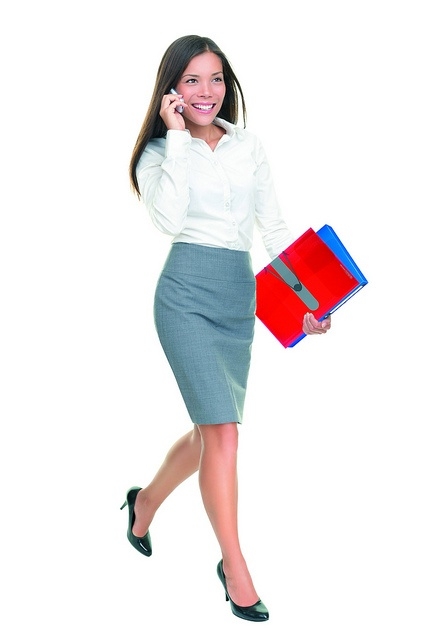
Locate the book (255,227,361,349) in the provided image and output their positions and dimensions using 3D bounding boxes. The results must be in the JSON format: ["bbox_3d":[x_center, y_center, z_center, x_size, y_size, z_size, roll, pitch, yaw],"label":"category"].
[{"bbox_3d":[0.294,-0.113,2.440,0.126,0.486,0.335,-20,-72,52],"label":"book"}]

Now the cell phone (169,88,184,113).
[{"bbox_3d":[-0.123,-0.765,2.194,0.058,0.030,0.077,4,-67,41],"label":"cell phone"}]

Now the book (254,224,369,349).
[{"bbox_3d":[0.381,-0.111,2.487,0.510,0.146,0.338,-40,-114,54],"label":"book"}]

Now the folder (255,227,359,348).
[{"bbox_3d":[0.352,-0.137,2.461,0.465,0.140,0.339,-42,-91,14],"label":"folder"}]
